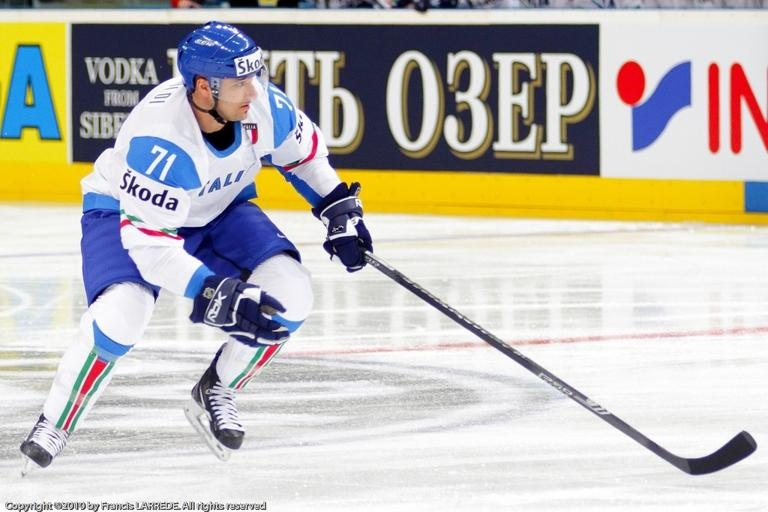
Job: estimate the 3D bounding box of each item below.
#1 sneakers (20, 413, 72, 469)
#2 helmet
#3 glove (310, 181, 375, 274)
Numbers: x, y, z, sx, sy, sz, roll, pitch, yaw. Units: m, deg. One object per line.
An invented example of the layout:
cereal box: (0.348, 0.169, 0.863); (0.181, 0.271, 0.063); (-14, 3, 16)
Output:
sneakers: (-1.513, 0.841, 5.814); (0.114, 0.334, 0.143); (44, -16, 0)
helmet: (-0.718, -0.851, 5.933); (0.443, 0.367, 0.354); (20, 29, 31)
glove: (-0.168, -0.143, 6.284); (0.298, 0.426, 0.181); (-25, -7, 26)
